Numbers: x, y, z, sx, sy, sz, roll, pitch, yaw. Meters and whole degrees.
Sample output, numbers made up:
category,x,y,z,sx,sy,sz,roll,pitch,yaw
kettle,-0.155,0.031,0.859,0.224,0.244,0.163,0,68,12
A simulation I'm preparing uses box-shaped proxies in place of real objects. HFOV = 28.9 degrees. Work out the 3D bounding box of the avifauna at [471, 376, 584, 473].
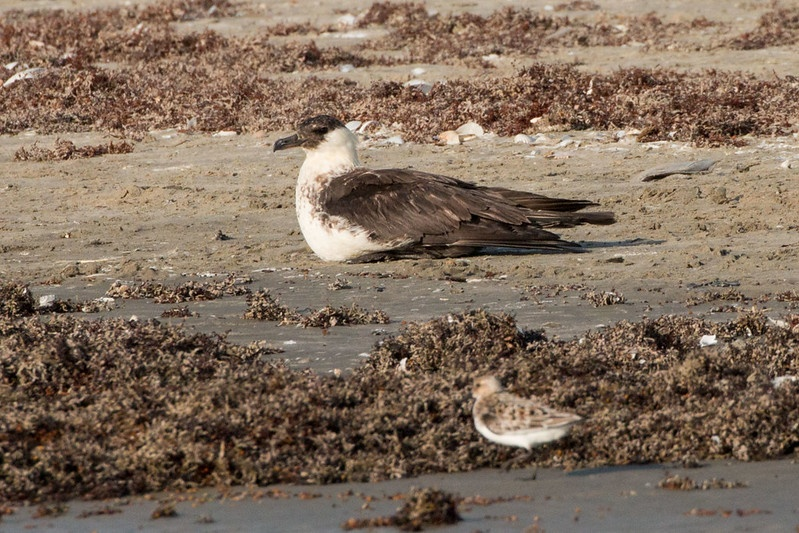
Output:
category,x,y,z,sx,sy,sz,roll,pitch,yaw
avifauna,1.656,1.942,19.306,1.831,0.912,0.827,2,1,29
